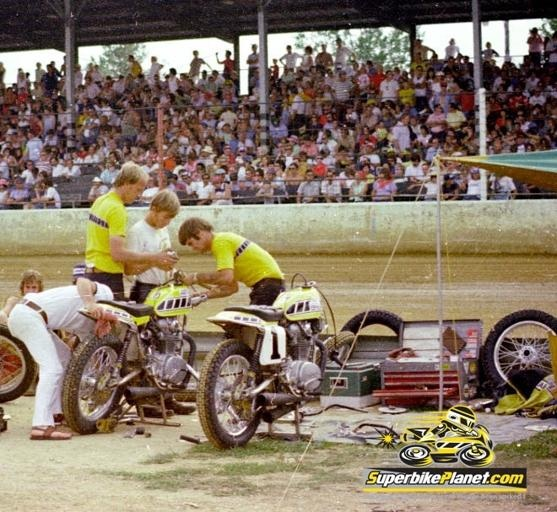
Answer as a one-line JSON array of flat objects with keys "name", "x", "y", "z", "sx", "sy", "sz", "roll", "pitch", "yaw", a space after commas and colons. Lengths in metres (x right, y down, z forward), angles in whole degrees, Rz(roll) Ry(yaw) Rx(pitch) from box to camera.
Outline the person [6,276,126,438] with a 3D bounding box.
[{"name": "person", "x": -1.813, "y": 0.839, "z": 10.756, "sx": 0.871, "sy": 1.315, "sz": 0.467, "roll": 0, "pitch": 2, "yaw": -7}]

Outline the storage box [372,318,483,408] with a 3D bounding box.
[{"name": "storage box", "x": 1.429, "y": 0.978, "z": 12.257, "sx": 0.972, "sy": 0.741, "sz": 1.171, "roll": -2, "pitch": -4, "yaw": 27}]

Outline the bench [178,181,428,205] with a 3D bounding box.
[{"name": "bench", "x": 0.358, "y": -0.839, "z": 17.040, "sx": 3.108, "sy": 0.297, "sz": 0.447, "roll": 1, "pitch": 2, "yaw": 27}]

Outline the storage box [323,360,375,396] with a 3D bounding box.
[{"name": "storage box", "x": 0.688, "y": 1.181, "z": 12.249, "sx": 0.481, "sy": 0.271, "sz": 0.600, "roll": -2, "pitch": 0, "yaw": 25}]

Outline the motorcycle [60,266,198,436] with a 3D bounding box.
[{"name": "motorcycle", "x": -1.250, "y": 0.895, "z": 10.809, "sx": 0.763, "sy": 0.932, "sz": 1.633, "roll": 0, "pitch": 5, "yaw": 34}]

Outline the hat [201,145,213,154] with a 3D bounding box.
[{"name": "hat", "x": -1.070, "y": -1.584, "z": 19.313, "sx": 0.094, "sy": 0.138, "sz": 0.210, "roll": -1, "pitch": 2, "yaw": -40}]

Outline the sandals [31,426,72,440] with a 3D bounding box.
[{"name": "sandals", "x": -1.883, "y": 1.449, "z": 10.646, "sx": 0.335, "sy": 0.109, "sz": 0.126, "roll": 0, "pitch": -3, "yaw": 2}]

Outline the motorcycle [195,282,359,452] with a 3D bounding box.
[{"name": "motorcycle", "x": -0.148, "y": 0.879, "z": 10.496, "sx": 0.787, "sy": 0.960, "sz": 1.683, "roll": 0, "pitch": 7, "yaw": 34}]
